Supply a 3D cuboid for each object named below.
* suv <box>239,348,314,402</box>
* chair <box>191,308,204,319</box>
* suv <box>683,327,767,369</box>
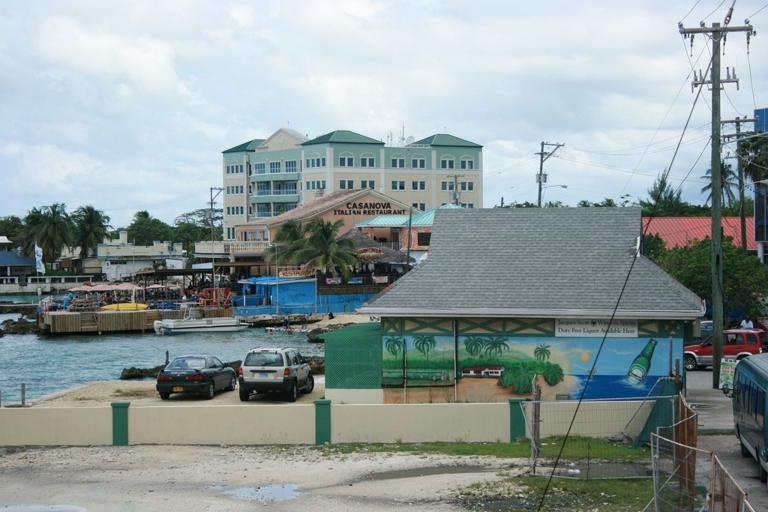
[{"bbox_3d":[-5.199,5.471,59.528,2.983,2.566,5.119,1,2,3],"label":"suv"},{"bbox_3d":[-15.174,4.678,100.969,0.872,0.785,0.842,1,3,13],"label":"chair"},{"bbox_3d":[18.065,5.061,66.144,4.224,1.924,2.536,2,2,13],"label":"suv"}]
